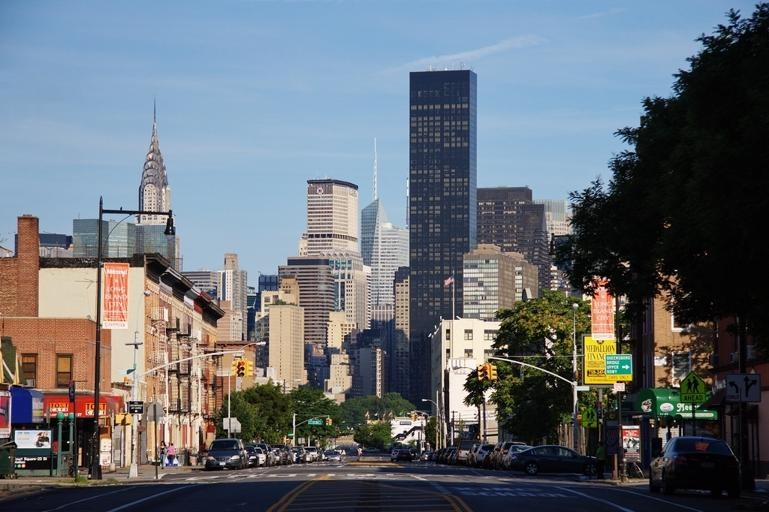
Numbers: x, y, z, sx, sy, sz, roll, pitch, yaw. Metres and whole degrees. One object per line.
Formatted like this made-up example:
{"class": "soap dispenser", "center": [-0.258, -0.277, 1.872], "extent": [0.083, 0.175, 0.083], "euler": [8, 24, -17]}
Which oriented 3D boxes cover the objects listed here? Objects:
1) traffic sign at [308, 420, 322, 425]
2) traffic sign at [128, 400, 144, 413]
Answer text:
{"class": "traffic sign", "center": [-8.421, 20.064, 227.147], "extent": [1.625, 0.735, 2.331], "euler": [-2, -11, 3]}
{"class": "traffic sign", "center": [-15.707, 9.436, 116.945], "extent": [0.877, 0.248, 0.902], "euler": [4, 7, 16]}
